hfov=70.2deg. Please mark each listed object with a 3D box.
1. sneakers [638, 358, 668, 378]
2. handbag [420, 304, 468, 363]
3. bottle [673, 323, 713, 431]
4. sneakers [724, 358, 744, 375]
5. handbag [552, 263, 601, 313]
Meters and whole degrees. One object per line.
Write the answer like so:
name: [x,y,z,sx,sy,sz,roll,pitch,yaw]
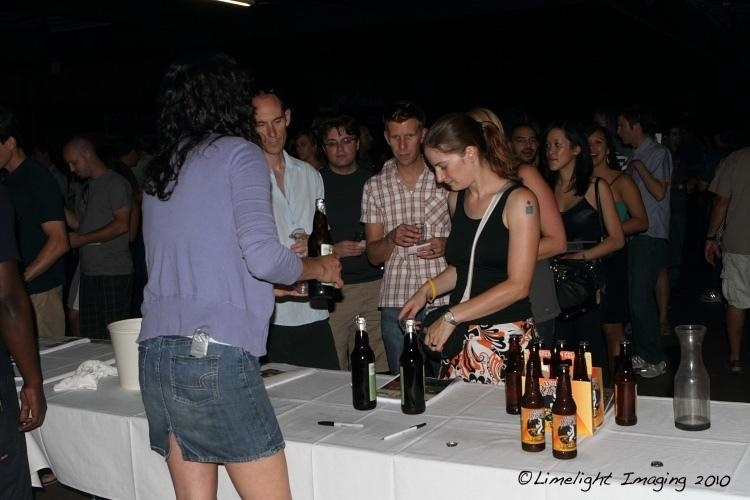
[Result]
sneakers: [2.450,1.070,4.740,0.286,0.107,0.106,-1,15,-10]
handbag: [0.356,0.370,2.524,0.200,0.266,0.104,2,-43,54]
bottle: [1.170,0.458,1.970,0.132,0.375,0.208,4,17,30]
sneakers: [3.216,1.060,4.805,0.076,0.061,0.204,-3,0,7]
handbag: [1.365,0.245,3.847,0.395,0.367,0.399,-4,5,13]
